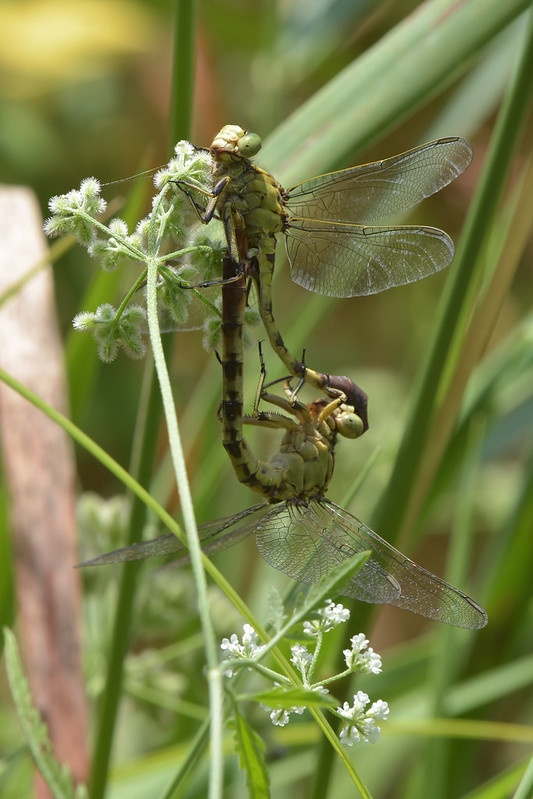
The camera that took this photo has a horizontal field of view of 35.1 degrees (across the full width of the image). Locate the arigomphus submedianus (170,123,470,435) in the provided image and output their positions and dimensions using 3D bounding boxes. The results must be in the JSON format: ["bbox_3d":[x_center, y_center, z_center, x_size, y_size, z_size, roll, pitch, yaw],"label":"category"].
[{"bbox_3d":[0.083,-0.147,0.880,0.325,0.160,0.312,-9,-53,29],"label":"arigomphus submedianus"}]

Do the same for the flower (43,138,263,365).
[{"bbox_3d":[-0.120,-0.094,0.844,0.247,0.225,0.079,3,-18,-9],"label":"flower"}]

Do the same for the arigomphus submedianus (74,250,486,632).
[{"bbox_3d":[0.048,0.046,0.870,0.259,0.288,0.459,17,-6,-42],"label":"arigomphus submedianus"}]
